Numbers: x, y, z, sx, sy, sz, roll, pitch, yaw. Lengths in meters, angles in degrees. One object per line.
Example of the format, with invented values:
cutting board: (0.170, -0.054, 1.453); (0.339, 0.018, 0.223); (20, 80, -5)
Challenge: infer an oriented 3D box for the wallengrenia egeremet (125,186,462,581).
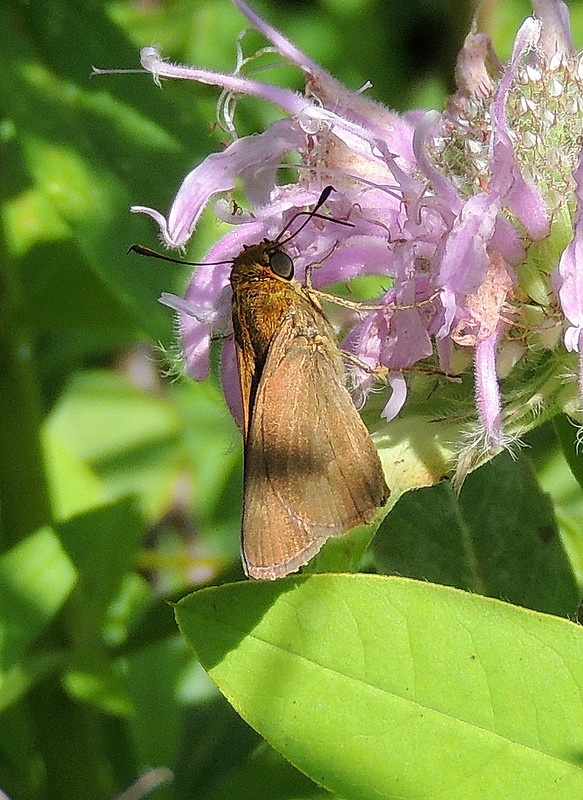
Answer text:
wallengrenia egeremet: (0.005, 0.001, 0.926); (0.328, 0.297, 0.375); (-22, 105, -15)
